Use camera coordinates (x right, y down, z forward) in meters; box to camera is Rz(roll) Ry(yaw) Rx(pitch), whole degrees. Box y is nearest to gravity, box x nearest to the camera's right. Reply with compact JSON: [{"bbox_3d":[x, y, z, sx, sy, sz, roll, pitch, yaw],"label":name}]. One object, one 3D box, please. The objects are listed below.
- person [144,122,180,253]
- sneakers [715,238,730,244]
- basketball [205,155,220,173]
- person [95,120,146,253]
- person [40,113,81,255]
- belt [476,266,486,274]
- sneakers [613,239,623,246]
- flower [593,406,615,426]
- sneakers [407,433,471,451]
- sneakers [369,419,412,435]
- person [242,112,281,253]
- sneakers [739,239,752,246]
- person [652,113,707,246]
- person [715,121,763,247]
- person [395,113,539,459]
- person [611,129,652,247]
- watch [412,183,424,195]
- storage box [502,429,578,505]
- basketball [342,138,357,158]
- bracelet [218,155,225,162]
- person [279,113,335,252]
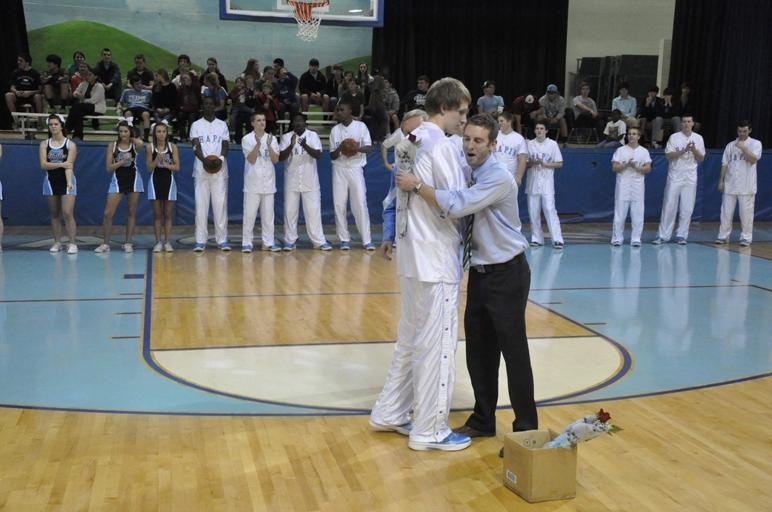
[{"bbox_3d":[-3.773,-1.151,11.476,0.525,2.184,0.477,-8,14,-28],"label":"person"},{"bbox_3d":[6.575,-0.302,13.341,0.300,0.120,0.106,1,2,-18],"label":"sneakers"},{"bbox_3d":[-2.966,-1.563,11.601,0.290,0.315,0.202,-5,12,-17],"label":"basketball"},{"bbox_3d":[-4.491,-1.165,11.425,0.867,2.183,0.632,-2,12,-6],"label":"person"},{"bbox_3d":[-5.395,-1.179,11.206,0.666,2.268,0.627,-2,12,-4],"label":"person"},{"bbox_3d":[0.717,0.106,5.182,0.042,0.045,0.053,-14,7,14],"label":"belt"},{"bbox_3d":[4.442,-0.253,13.087,0.131,0.095,0.125,1,0,-2],"label":"sneakers"},{"bbox_3d":[1.526,1.141,4.804,0.089,0.149,0.225,4,13,23],"label":"flower"},{"bbox_3d":[0.413,1.461,5.373,0.475,0.189,0.175,0,1,-9],"label":"sneakers"},{"bbox_3d":[0.020,1.372,5.537,0.346,0.152,0.129,2,5,-6],"label":"sneakers"},{"bbox_3d":[-2.221,-1.280,11.856,0.762,2.383,0.785,-5,13,-18],"label":"person"},{"bbox_3d":[6.863,-0.252,13.014,0.091,0.107,0.255,-1,-5,39],"label":"sneakers"},{"bbox_3d":[5.749,-1.495,13.328,0.849,2.482,0.678,-2,12,-5],"label":"person"},{"bbox_3d":[6.807,-1.430,13.164,0.659,2.354,0.843,5,13,27],"label":"person"},{"bbox_3d":[0.735,0.215,5.189,0.897,2.540,0.595,3,13,18],"label":"person"},{"bbox_3d":[4.681,-1.331,13.087,0.651,2.228,0.701,3,13,18],"label":"person"},{"bbox_3d":[0.232,-0.510,5.094,0.057,0.084,0.077,32,56,10],"label":"watch"},{"bbox_3d":[1.052,1.464,4.934,0.484,0.477,0.492,-4,8,-33],"label":"storage box"},{"bbox_3d":[-0.639,-1.884,11.824,0.292,0.320,0.216,-10,15,-38],"label":"basketball"},{"bbox_3d":[-2.829,-1.679,11.638,0.081,0.041,0.110,30,1,5],"label":"bracelet"},{"bbox_3d":[-1.485,-1.287,12.008,0.783,2.356,0.536,-3,12,-8],"label":"person"}]
